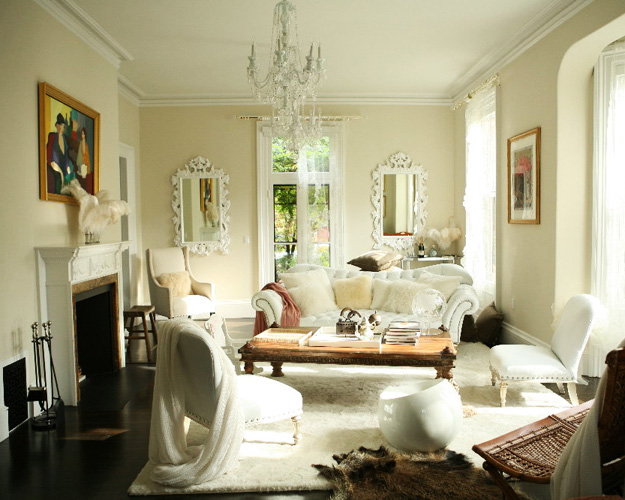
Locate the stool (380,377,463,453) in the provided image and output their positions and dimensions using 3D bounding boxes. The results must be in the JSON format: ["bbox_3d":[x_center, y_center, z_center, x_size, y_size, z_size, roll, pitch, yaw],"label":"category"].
[{"bbox_3d":[0.719,1.126,3.463,0.531,0.396,0.542,-13,-17,-11],"label":"stool"}]

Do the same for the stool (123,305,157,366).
[{"bbox_3d":[-2.112,1.059,5.853,0.528,0.711,0.537,-1,-5,-5],"label":"stool"}]

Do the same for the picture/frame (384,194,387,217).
[{"bbox_3d":[1.175,-0.723,7.672,0.072,0.344,0.018,-1,6,-1],"label":"picture/frame"}]

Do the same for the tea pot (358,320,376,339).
[{"bbox_3d":[0.467,0.680,4.076,0.142,0.147,0.132,-1,0,0],"label":"tea pot"}]

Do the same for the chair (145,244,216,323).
[{"bbox_3d":[-1.898,0.503,6.719,0.882,1.072,0.882,1,4,26],"label":"chair"}]

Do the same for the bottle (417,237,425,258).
[{"bbox_3d":[1.726,-0.049,7.568,0.116,0.306,0.262,0,6,12],"label":"bottle"}]

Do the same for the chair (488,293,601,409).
[{"bbox_3d":[2.038,0.815,4.346,1.019,1.112,0.829,0,0,6],"label":"chair"}]

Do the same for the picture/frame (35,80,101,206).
[{"bbox_3d":[-2.276,-0.946,4.494,1.131,1.008,0.097,24,23,38],"label":"picture/frame"}]

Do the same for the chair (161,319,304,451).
[{"bbox_3d":[-0.517,1.047,3.449,0.648,0.933,0.810,-18,-11,42],"label":"chair"}]

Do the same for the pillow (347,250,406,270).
[{"bbox_3d":[0.903,0.138,6.536,0.373,0.149,0.408,-11,0,-21],"label":"pillow"}]

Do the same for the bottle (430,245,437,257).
[{"bbox_3d":[1.933,0.004,7.580,0.113,0.164,0.210,1,6,14],"label":"bottle"}]

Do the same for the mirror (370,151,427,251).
[{"bbox_3d":[1.386,-0.772,7.665,0.890,1.591,0.143,-2,7,-7],"label":"mirror"}]
